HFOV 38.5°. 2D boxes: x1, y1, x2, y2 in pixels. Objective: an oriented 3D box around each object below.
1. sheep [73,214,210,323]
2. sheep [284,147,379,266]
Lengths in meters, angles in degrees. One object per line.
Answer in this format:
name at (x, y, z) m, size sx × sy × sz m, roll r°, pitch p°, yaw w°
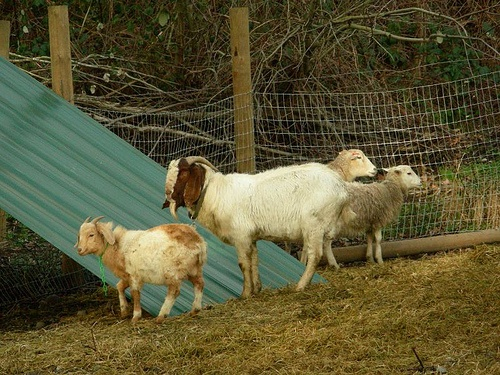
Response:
sheep at (-1.217, 0.912, 7.891) m, size 1.425 × 1.237 × 0.628 m, roll -2°, pitch 6°, yaw -3°
sheep at (1.146, 0.425, 10.562) m, size 2.002 × 1.800 × 0.693 m, roll -11°, pitch -9°, yaw 42°
